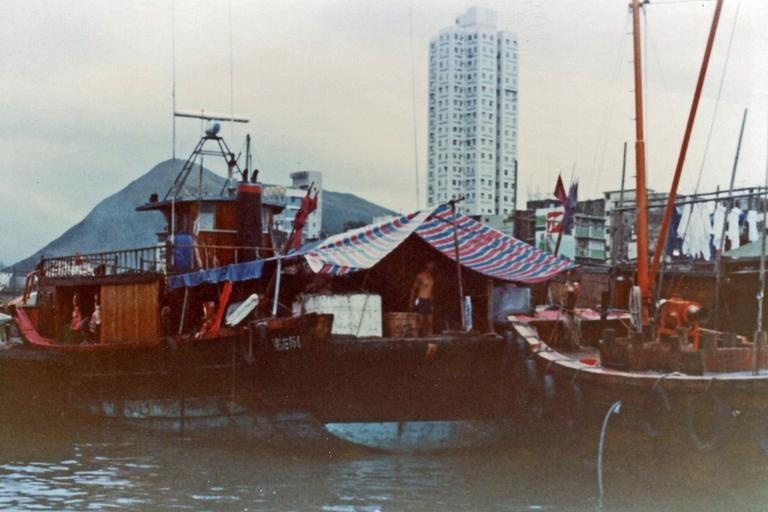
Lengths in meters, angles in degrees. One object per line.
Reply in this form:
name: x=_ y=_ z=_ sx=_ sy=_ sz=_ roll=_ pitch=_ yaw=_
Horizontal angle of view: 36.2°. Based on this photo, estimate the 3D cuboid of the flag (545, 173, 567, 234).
flag: x=4.892 y=-1.489 z=32.843 sx=0.868 sy=0.177 sz=2.929 roll=-10 pitch=-37 yaw=2

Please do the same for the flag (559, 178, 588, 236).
flag: x=5.018 y=-1.296 z=31.832 sx=0.460 sy=1.700 sz=0.382 roll=0 pitch=40 yaw=-8
